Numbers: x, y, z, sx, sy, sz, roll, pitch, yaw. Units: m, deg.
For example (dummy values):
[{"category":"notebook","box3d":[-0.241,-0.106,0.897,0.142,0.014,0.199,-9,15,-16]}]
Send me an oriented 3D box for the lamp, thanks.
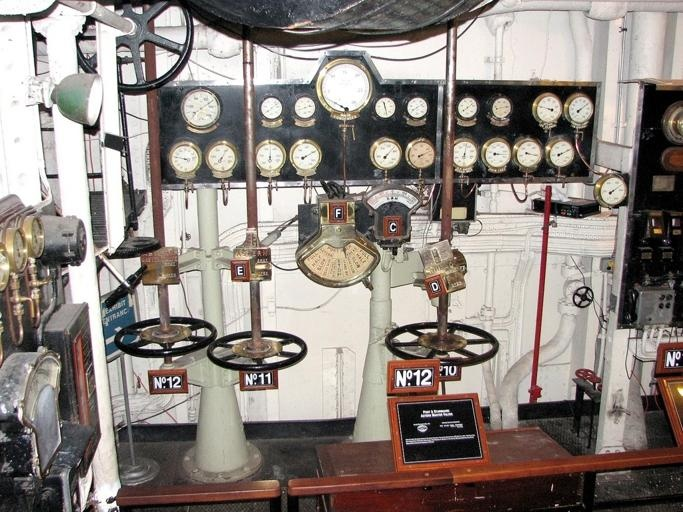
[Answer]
[{"category":"lamp","box3d":[-1.758,-1.013,4.145,0.451,0.280,0.277,7,32,3]}]
